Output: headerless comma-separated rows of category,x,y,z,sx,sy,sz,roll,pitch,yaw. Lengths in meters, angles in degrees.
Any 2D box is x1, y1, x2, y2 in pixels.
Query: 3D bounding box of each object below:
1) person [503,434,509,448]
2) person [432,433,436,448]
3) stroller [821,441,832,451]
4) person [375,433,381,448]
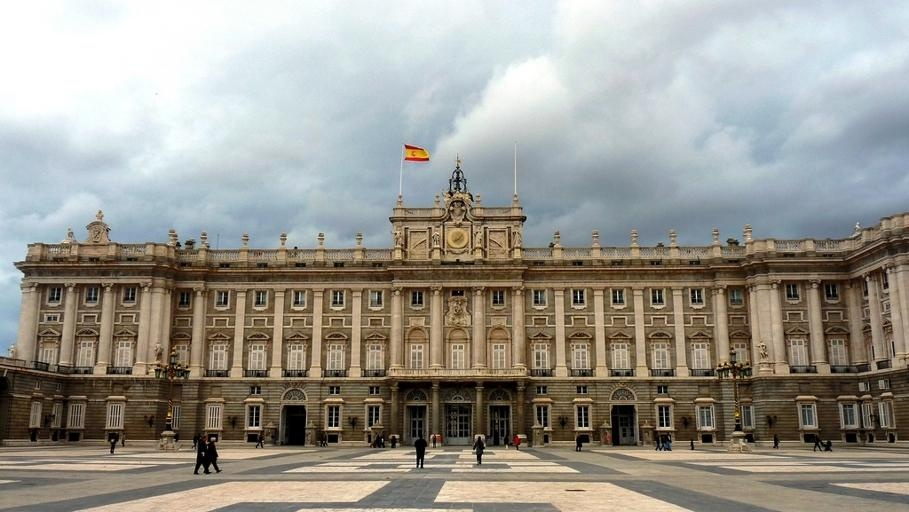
person,6.333,22.279,111.302,0.715,1.236,1.521,-4,-15,2
person,-2.403,21.836,108.799,0.601,1.502,1.262,-3,-16,-2
stroller,41.853,21.225,102.731,1.501,0.595,1.928,-2,-7,13
person,-8.997,21.901,109.154,0.821,1.515,0.957,-11,-18,23
